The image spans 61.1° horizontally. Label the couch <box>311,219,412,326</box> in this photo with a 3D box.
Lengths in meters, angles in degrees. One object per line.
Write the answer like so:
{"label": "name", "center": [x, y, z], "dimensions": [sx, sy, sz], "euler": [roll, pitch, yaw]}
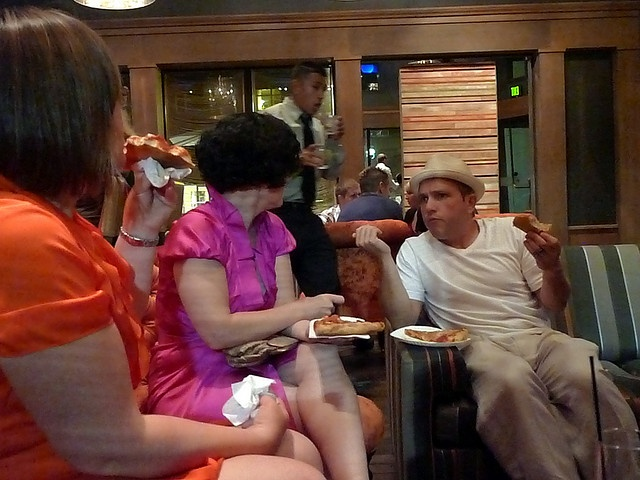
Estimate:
{"label": "couch", "center": [0.481, 0.206, 4.006], "dimensions": [0.608, 0.795, 0.639], "euler": [-14, 10, -28]}

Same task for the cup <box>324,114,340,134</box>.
{"label": "cup", "center": [0.067, -0.669, 3.103], "dimensions": [0.087, 0.086, 0.089], "euler": [-1, 9, 0]}

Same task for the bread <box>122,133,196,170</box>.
{"label": "bread", "center": [-0.488, -0.269, 1.664], "dimensions": [0.214, 0.070, 0.253], "euler": [7, -3, 44]}

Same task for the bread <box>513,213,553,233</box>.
{"label": "bread", "center": [0.846, -0.062, 2.204], "dimensions": [0.088, 0.053, 0.111], "euler": [-5, 12, -25]}

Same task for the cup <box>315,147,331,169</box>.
{"label": "cup", "center": [0.031, -0.469, 3.097], "dimensions": [0.100, 0.102, 0.102], "euler": [-4, 10, 1]}

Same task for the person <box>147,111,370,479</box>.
{"label": "person", "center": [-0.359, 0.164, 2.295], "dimensions": [1.069, 1.547, 0.776], "euler": [-4, -5, 4]}
